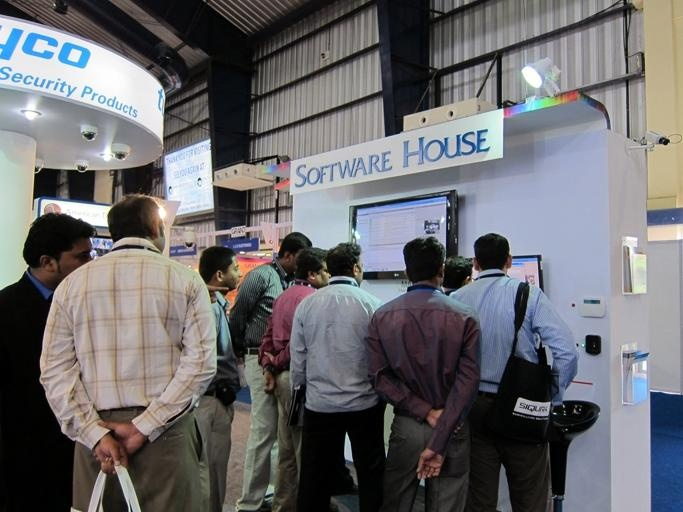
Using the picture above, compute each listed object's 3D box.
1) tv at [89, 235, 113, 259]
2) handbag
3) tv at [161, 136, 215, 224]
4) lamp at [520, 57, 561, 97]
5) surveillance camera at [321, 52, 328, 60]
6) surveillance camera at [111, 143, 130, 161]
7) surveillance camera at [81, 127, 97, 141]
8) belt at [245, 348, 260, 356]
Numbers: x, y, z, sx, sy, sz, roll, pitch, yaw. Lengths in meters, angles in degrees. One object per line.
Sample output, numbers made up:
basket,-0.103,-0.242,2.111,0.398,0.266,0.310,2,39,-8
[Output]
tv,-2.101,-0.085,5.124,0.091,0.202,0.186,-4,-7,16
handbag,1.086,0.813,3.439,0.375,0.550,0.232,6,18,8
tv,-3.332,-1.655,12.832,1.768,1.577,0.068,-6,-4,38
lamp,1.385,-1.225,4.012,0.174,0.285,0.247,-2,2,-37
surveillance camera,-0.286,-3.597,10.533,0.128,0.136,0.114,-13,-14,12
surveillance camera,-1.950,-0.933,5.217,0.118,0.108,0.133,-3,-8,11
surveillance camera,-2.024,-0.987,4.737,0.088,0.084,0.099,-3,-9,3
belt,-0.647,0.703,4.327,0.083,0.072,0.049,-4,-13,23
